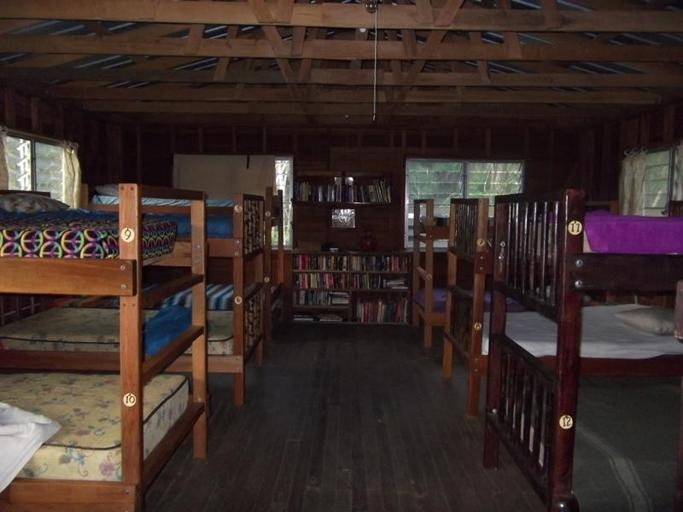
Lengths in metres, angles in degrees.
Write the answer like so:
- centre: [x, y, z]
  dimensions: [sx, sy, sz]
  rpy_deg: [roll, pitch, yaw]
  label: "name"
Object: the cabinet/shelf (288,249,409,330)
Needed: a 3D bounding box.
- centre: [0.126, 0.428, 7.802]
  dimensions: [1.690, 0.961, 0.425]
  rpy_deg: [0, 10, 1]
  label: "cabinet/shelf"
